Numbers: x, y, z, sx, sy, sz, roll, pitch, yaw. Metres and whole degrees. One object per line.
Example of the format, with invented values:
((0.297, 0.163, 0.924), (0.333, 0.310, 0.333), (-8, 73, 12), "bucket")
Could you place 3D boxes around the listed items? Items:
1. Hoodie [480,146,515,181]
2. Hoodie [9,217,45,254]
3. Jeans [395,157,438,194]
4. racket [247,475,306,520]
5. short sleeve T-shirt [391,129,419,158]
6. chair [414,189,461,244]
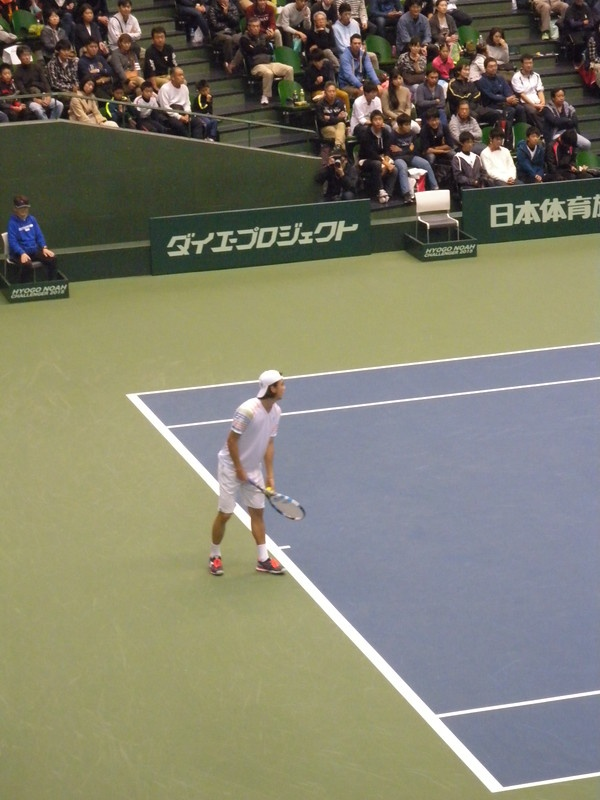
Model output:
((3.979, -4.782, 16.727), (0.497, 0.650, 0.421), (-26, 16, -18), "Hoodie")
((-4.594, -2.763, 13.924), (0.559, 0.830, 0.611), (-6, 7, -35), "Hoodie")
((2.293, -4.582, 16.311), (0.666, 0.965, 0.276), (-11, -1, -18), "Jeans")
((-0.205, 0.716, 6.517), (0.051, 0.213, 0.688), (-37, 43, -22), "racket")
((2.052, -5.127, 16.441), (0.406, 0.608, 0.306), (-17, 33, -25), "short sleeve T-shirt")
((2.614, -3.257, 15.643), (0.870, 1.336, 0.950), (6, 20, 28), "chair")
